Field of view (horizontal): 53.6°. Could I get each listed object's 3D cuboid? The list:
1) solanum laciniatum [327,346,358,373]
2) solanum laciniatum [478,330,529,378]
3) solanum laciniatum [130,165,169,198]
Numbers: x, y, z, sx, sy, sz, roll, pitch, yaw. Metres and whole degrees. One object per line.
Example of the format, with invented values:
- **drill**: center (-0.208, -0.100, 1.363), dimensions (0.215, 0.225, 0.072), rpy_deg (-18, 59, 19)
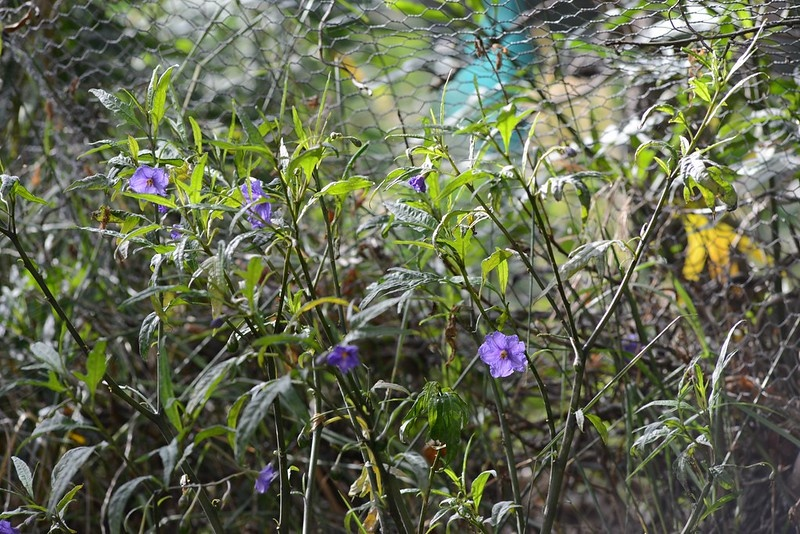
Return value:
- **solanum laciniatum**: center (-0.114, 0.183, 1.569), dimensions (0.064, 0.064, 0.049), rpy_deg (4, 23, 4)
- **solanum laciniatum**: center (0.231, 0.198, 1.763), dimensions (0.118, 0.042, 0.120), rpy_deg (38, 40, 24)
- **solanum laciniatum**: center (-0.547, -0.191, 1.733), dimensions (0.069, 0.074, 0.044), rpy_deg (1, -3, -4)
